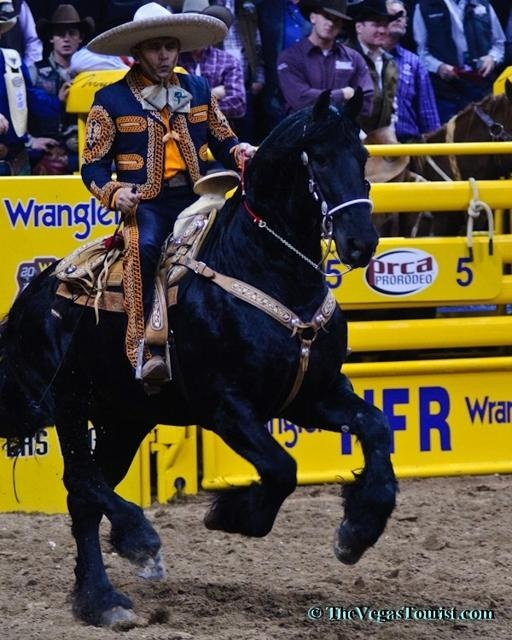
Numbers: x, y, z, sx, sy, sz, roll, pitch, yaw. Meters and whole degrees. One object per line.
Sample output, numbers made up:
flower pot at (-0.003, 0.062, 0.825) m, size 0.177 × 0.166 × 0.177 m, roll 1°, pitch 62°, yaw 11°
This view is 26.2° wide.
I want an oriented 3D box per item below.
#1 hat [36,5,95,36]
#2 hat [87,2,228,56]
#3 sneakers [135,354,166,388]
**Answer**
hat at (-1.370, -2.115, 7.811) m, size 0.332 × 0.117 × 0.329 m, roll -2°, pitch -14°, yaw -5°
hat at (-0.428, -1.200, 4.566) m, size 0.540 × 0.183 × 0.496 m, roll 0°, pitch 8°, yaw 11°
sneakers at (-0.401, 0.207, 4.257) m, size 0.117 × 0.135 × 0.138 m, roll -5°, pitch 10°, yaw -17°
